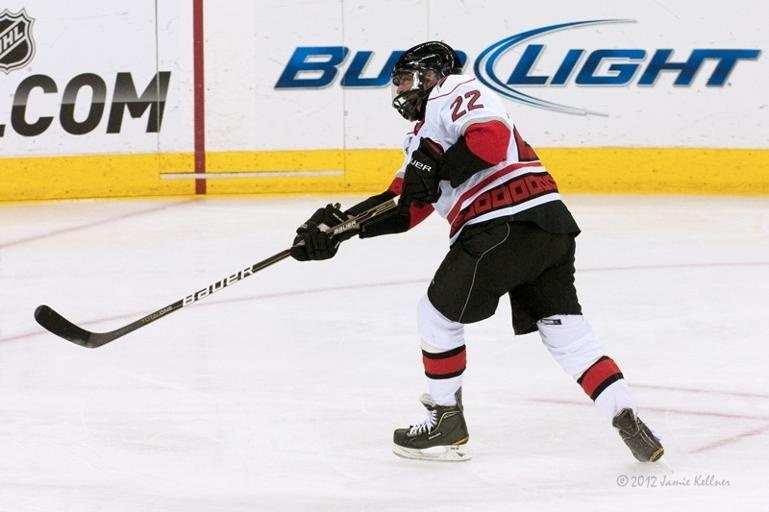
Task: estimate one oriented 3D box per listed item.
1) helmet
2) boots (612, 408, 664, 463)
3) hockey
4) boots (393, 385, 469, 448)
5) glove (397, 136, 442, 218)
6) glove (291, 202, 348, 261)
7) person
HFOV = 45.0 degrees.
[{"bbox_3d":[0.294,-0.831,4.385,0.332,0.274,0.264,-5,-3,35],"label":"helmet"},{"bbox_3d":[1.123,0.784,4.181,0.288,0.156,0.096,43,15,0],"label":"boots"},{"bbox_3d":[-1.055,0.122,5.844,1.905,0.155,0.247,-24,20,8],"label":"hockey"},{"bbox_3d":[0.233,0.773,4.309,0.433,0.270,0.153,-13,-17,36],"label":"boots"},{"bbox_3d":[0.173,-0.356,4.123,0.188,0.280,0.109,25,6,32],"label":"glove"},{"bbox_3d":[-0.316,-0.106,4.412,0.297,0.266,0.112,-23,-42,24],"label":"glove"},{"bbox_3d":[0.404,0.011,4.165,1.600,1.826,0.736,19,22,38],"label":"person"}]
